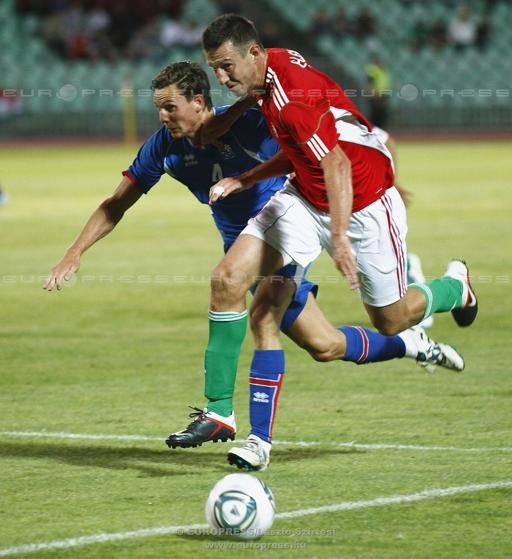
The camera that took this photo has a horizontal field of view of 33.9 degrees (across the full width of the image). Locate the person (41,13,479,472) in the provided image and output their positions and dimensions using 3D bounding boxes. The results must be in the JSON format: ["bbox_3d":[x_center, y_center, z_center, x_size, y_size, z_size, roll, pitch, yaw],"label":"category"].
[{"bbox_3d":[0.239,-0.183,3.480,0.970,1.776,1.328,3,16,14],"label":"person"}]

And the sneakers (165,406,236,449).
[{"bbox_3d":[-0.227,0.588,3.354,0.346,0.130,0.121,-1,0,-41],"label":"sneakers"}]

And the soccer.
[{"bbox_3d":[-0.057,0.717,2.686,0.266,0.170,0.203,0,-7,-12],"label":"soccer"}]

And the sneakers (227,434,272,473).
[{"bbox_3d":[-0.035,0.670,3.210,0.098,0.090,0.218,-11,-21,29],"label":"sneakers"}]
